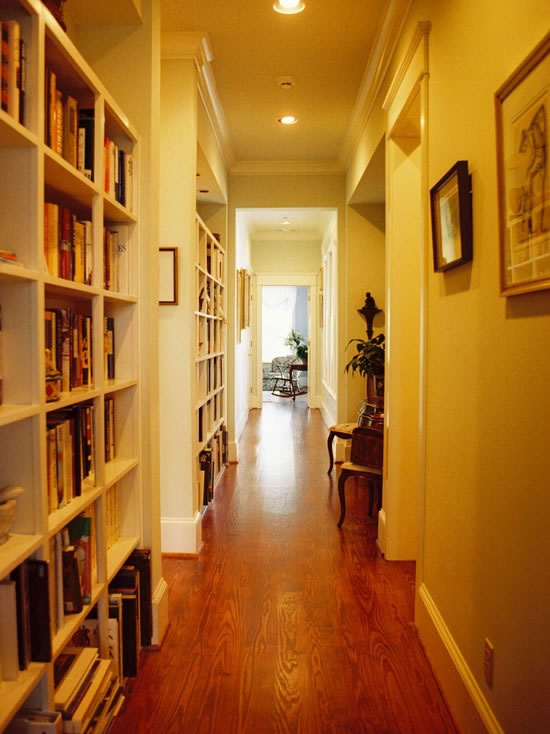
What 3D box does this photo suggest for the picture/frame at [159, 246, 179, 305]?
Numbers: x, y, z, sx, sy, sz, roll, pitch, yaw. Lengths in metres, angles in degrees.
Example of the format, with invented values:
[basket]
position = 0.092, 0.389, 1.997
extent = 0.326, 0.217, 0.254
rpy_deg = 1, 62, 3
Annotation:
[picture/frame]
position = -0.602, -0.508, 2.950
extent = 0.109, 0.324, 0.018
rpy_deg = 0, -2, -3

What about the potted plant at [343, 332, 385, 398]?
[potted plant]
position = 0.773, -0.058, 4.392
extent = 0.338, 0.580, 0.455
rpy_deg = -1, 7, -2

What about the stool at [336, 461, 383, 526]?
[stool]
position = 0.554, 0.765, 3.468
extent = 0.314, 0.477, 0.363
rpy_deg = 0, -3, 7
